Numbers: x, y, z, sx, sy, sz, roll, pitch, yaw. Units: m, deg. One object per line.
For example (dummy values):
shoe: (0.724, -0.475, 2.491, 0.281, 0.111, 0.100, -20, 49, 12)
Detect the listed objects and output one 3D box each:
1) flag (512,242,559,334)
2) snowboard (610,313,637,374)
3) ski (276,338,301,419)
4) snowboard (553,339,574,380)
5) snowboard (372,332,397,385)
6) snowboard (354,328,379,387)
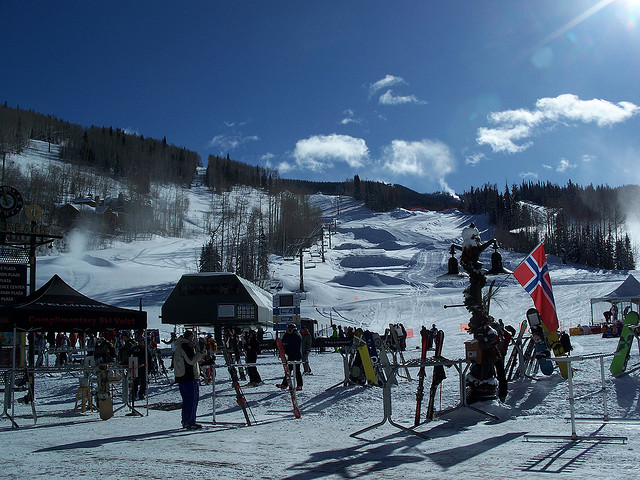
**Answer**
flag: (7.052, 1.355, 24.978, 1.536, 3.425, 0.251, 15, -34, -3)
snowboard: (10.468, 3.602, 26.527, 0.334, 2.645, 0.582, 20, -10, -15)
ski: (-0.959, 4.409, 24.441, 0.250, 2.443, 0.167, -17, -2, 42)
snowboard: (7.246, 3.579, 23.021, 0.352, 1.544, 0.216, -15, 3, -1)
snowboard: (1.653, 3.082, 20.326, 0.290, 1.991, 0.028, -6, -41, -10)
snowboard: (1.346, 3.123, 20.506, 0.414, 2.085, 0.318, 6, -53, -7)
